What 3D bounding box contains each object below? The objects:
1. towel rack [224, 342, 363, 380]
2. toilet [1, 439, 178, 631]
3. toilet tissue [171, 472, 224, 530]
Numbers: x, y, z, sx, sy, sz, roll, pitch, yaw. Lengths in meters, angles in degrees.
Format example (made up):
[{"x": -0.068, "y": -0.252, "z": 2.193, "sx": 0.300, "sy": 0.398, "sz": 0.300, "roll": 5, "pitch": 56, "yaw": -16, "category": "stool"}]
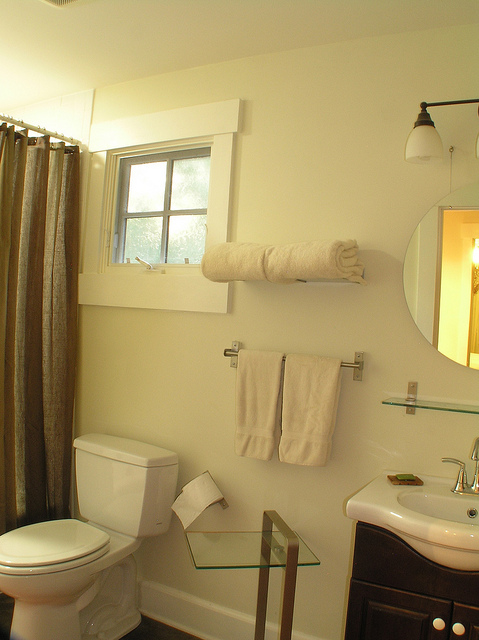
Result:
[{"x": 0.175, "y": 0.145, "z": 1.850, "sx": 0.540, "sy": 0.119, "sz": 0.069, "roll": 8, "pitch": 3, "yaw": 28, "category": "towel rack"}, {"x": -0.575, "y": 0.858, "z": 1.855, "sx": 0.474, "sy": 0.495, "sz": 0.588, "roll": 7, "pitch": 2, "yaw": 18, "category": "toilet"}, {"x": -0.160, "y": 0.678, "z": 1.914, "sx": 0.183, "sy": 0.153, "sz": 0.110, "roll": 6, "pitch": 2, "yaw": -6, "category": "toilet tissue"}]
